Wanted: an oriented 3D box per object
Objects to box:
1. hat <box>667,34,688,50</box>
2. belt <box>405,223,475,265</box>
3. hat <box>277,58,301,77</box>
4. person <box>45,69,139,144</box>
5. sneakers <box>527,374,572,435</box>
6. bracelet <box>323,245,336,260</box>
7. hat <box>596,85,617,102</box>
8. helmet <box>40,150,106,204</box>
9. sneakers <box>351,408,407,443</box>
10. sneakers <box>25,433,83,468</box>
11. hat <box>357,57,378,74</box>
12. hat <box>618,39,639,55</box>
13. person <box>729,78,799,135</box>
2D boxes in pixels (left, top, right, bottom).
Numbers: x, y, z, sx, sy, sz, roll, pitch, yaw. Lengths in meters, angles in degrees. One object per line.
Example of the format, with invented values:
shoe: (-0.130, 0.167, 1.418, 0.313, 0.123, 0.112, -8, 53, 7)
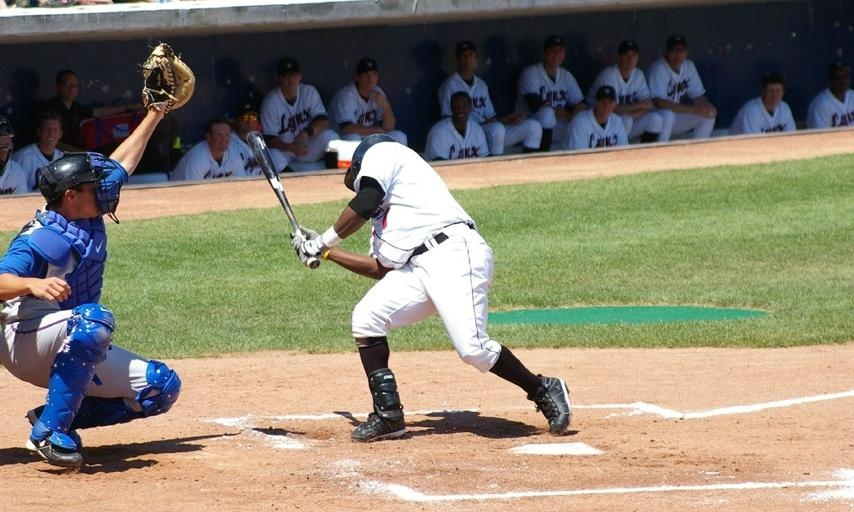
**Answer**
hat: (3.470, -2.944, 16.794, 0.266, 0.173, 0.341, 0, -29, 4)
belt: (0.104, -0.152, 9.462, 0.369, 0.137, 0.320, -36, 3, -12)
hat: (-1.784, -2.424, 15.500, 0.282, 0.219, 0.253, -4, 6, -2)
person: (-4.251, -1.862, 15.329, 1.107, 0.960, 1.058, -3, 16, -19)
sneakers: (0.964, 1.152, 9.607, 0.302, 0.535, 0.202, -6, -26, -19)
bracelet: (-0.777, -0.031, 9.507, 0.087, 0.089, 0.085, 1, -11, 20)
hat: (2.332, -2.114, 15.684, 0.221, 0.132, 0.276, 2, 9, 5)
helmet: (-2.671, -0.606, 9.081, 0.454, 0.329, 0.335, -18, 4, -10)
sneakers: (-0.371, 1.332, 9.570, 0.446, 0.184, 0.200, -4, 6, -9)
sneakers: (-2.741, 1.456, 8.970, 0.496, 0.182, 0.183, 12, 23, 10)
hat: (-0.788, -2.483, 15.638, 0.252, 0.210, 0.285, -4, 6, -5)
hat: (2.729, -2.858, 16.464, 0.280, 0.166, 0.362, 0, -11, -3)
person: (4.631, -2.101, 16.510, 0.839, 0.795, 0.649, -7, 6, -25)
